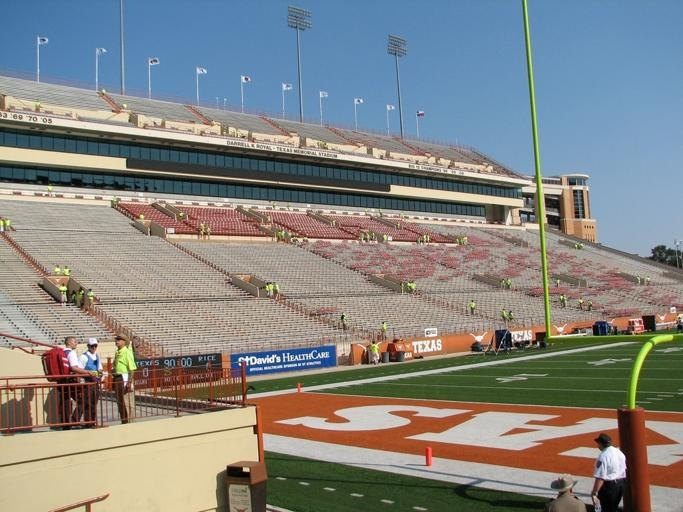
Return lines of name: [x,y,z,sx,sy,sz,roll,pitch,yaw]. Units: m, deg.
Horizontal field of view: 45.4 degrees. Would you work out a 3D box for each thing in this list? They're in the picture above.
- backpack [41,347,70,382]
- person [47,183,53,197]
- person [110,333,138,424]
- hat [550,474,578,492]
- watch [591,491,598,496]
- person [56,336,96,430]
backpack: [-5.201,1.877,14.541,0.562,0.551,0.551,3,-13,-38]
person: [-14.779,-3.356,41.296,0.332,0.630,0.238,5,-23,-20]
person: [-4.077,2.239,15.262,0.433,1.441,1.478,-5,-2,-16]
hat: [3.569,3.604,12.952,0.481,0.133,0.494,-1,6,26]
watch: [4.140,3.890,13.370,0.104,0.066,0.096,5,-4,-40]
person: [-4.757,2.205,14.558,0.637,1.481,1.529,-5,-2,-19]
